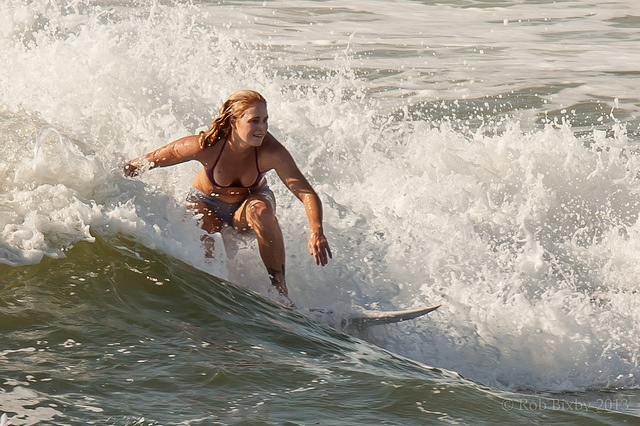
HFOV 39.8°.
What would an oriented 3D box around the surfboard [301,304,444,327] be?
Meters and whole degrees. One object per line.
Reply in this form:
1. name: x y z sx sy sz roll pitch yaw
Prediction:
1. surfboard: 0.459 0.984 8.468 1.640 0.176 0.153 -4 10 16
